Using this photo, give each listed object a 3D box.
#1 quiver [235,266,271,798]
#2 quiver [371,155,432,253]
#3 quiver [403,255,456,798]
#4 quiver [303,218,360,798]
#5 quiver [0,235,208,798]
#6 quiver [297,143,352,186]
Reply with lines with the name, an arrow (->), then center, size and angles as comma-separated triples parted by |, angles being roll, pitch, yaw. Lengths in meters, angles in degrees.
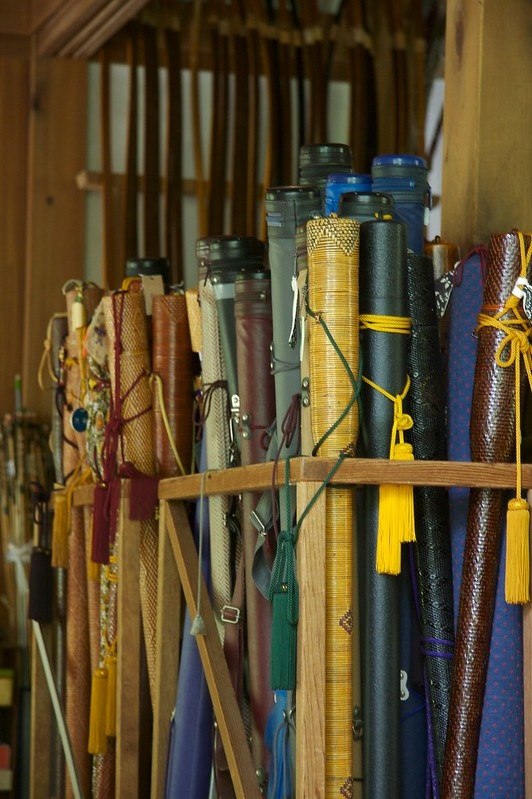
quiver -> -0.046, 0.196, 1.720 | 0.072, 0.799, 0.092 | 1, -7, -19
quiver -> 0.256, -0.346, 1.882 | 0.114, 0.219, 0.112 | -2, -9, 5
quiver -> 0.265, 0.178, 1.686 | 0.080, 0.929, 0.084 | 3, -7, -38
quiver -> 0.106, 0.142, 1.449 | 0.080, 0.816, 0.219 | -1, 3, 3
quiver -> -0.373, 0.294, 2.329 | 0.276, 1.249, 0.758 | -2, -1, -34
quiver -> 0.103, -0.427, 1.782 | 0.077, 0.085, 0.077 | -4, 6, -35
